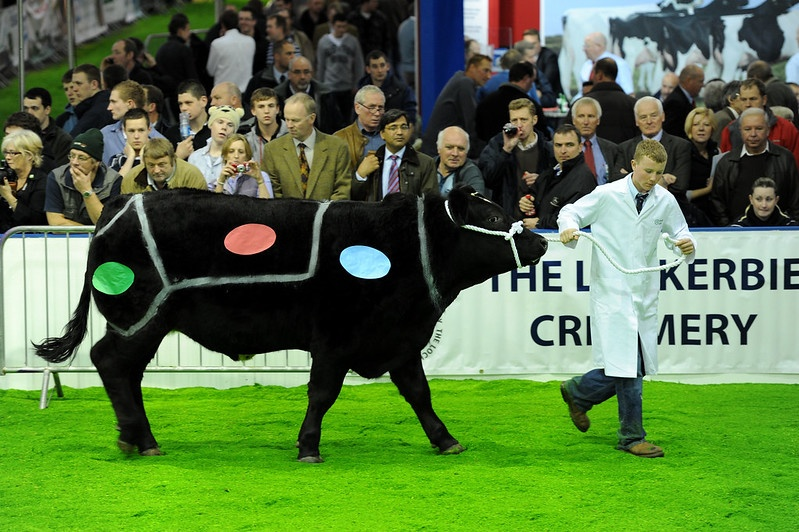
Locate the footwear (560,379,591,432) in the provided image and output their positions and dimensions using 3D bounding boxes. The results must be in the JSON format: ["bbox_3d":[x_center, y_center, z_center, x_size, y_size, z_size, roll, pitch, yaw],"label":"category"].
[{"bbox_3d":[1.890,1.495,15.636,0.312,0.625,0.235,-14,6,14],"label":"footwear"}]

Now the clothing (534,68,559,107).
[{"bbox_3d":[2.153,-2.729,22.309,0.437,0.545,0.182,-23,7,-42],"label":"clothing"}]

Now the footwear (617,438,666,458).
[{"bbox_3d":[2.514,1.886,15.173,0.344,0.124,0.179,-5,-1,34],"label":"footwear"}]

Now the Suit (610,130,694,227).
[{"bbox_3d":[3.219,-1.046,18.464,0.919,1.197,0.519,2,-15,-4],"label":"Suit"}]

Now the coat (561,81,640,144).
[{"bbox_3d":[2.718,-2.054,19.734,1.241,1.313,0.724,0,8,11],"label":"coat"}]

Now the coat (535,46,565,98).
[{"bbox_3d":[2.287,-3.135,23.397,0.272,0.706,0.548,-7,13,45],"label":"coat"}]

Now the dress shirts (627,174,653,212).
[{"bbox_3d":[2.499,-0.719,15.078,0.209,0.280,0.146,0,5,-1],"label":"dress shirts"}]

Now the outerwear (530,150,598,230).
[{"bbox_3d":[1.900,-0.860,17.640,0.487,0.838,0.910,1,14,-24],"label":"outerwear"}]

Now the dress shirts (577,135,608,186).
[{"bbox_3d":[2.445,-1.339,18.311,0.411,0.536,0.173,5,-17,-37],"label":"dress shirts"}]

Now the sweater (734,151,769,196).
[{"bbox_3d":[4.374,-1.148,18.127,0.527,0.701,0.372,3,-9,5],"label":"sweater"}]
